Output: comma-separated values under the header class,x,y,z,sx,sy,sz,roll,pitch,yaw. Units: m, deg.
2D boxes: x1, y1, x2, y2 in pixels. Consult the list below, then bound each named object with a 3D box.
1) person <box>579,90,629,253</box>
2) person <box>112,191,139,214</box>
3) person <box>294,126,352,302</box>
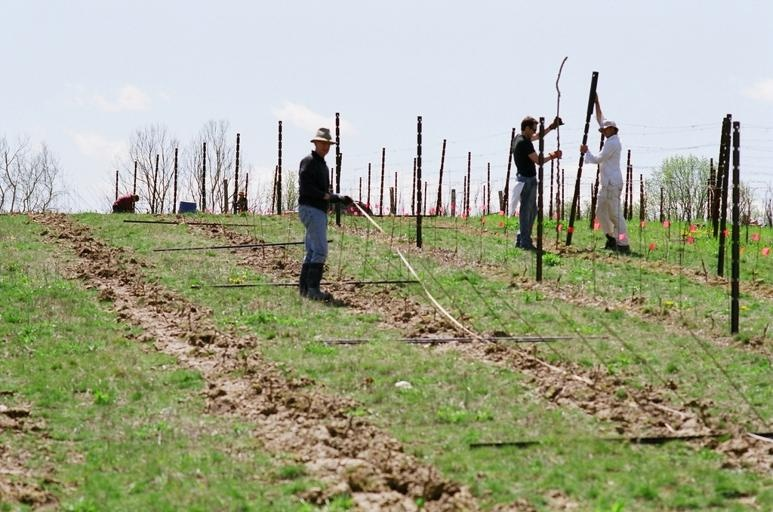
class,x,y,z,sx,sy,sz,roll,pitch,yaw
person,4.744,-1.699,20.792,1.152,3.260,0.704,-3,6,-26
person,-6.979,-1.405,26.184,0.614,0.481,2.064,-1,6,-15
person,-1.222,-0.720,17.538,0.725,3.053,0.733,0,5,-5
